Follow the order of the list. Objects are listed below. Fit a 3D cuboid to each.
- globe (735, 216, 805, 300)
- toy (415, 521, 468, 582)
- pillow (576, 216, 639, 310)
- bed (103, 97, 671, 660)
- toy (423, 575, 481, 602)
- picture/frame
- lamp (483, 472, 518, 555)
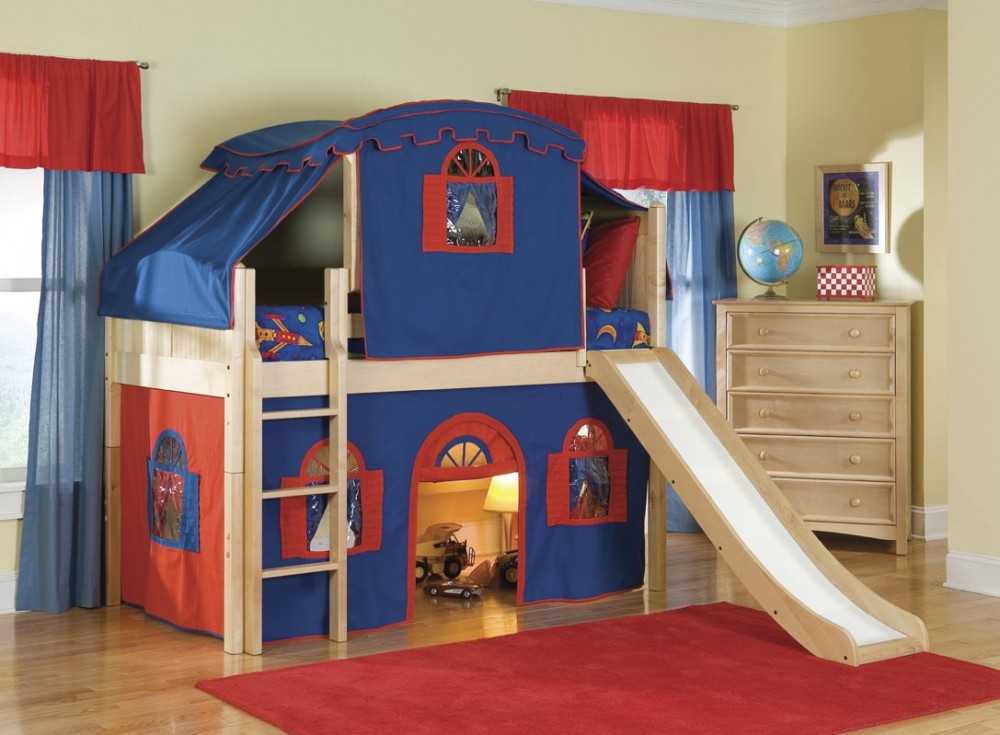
[{"bbox_3d":[1.746,-0.693,6.493,0.403,0.517,0.413,3,2,-7],"label":"globe"},{"bbox_3d":[-0.319,0.986,5.527,0.360,0.284,0.258,-4,-2,3],"label":"toy"},{"bbox_3d":[0.580,-0.567,5.455,0.136,0.444,0.453,12,-12,-26],"label":"pillow"},{"bbox_3d":[-0.570,-0.023,5.412,2.607,2.482,1.592,-2,3,-40],"label":"bed"},{"bbox_3d":[-0.247,1.135,5.252,0.204,0.064,0.126,2,6,7],"label":"toy"},{"bbox_3d":[2.311,-1.023,6.585,0.640,0.767,0.030,3,3,44],"label":"picture/frame"},{"bbox_3d":[0.078,0.840,5.709,0.229,0.482,0.223,4,-8,8],"label":"lamp"}]
